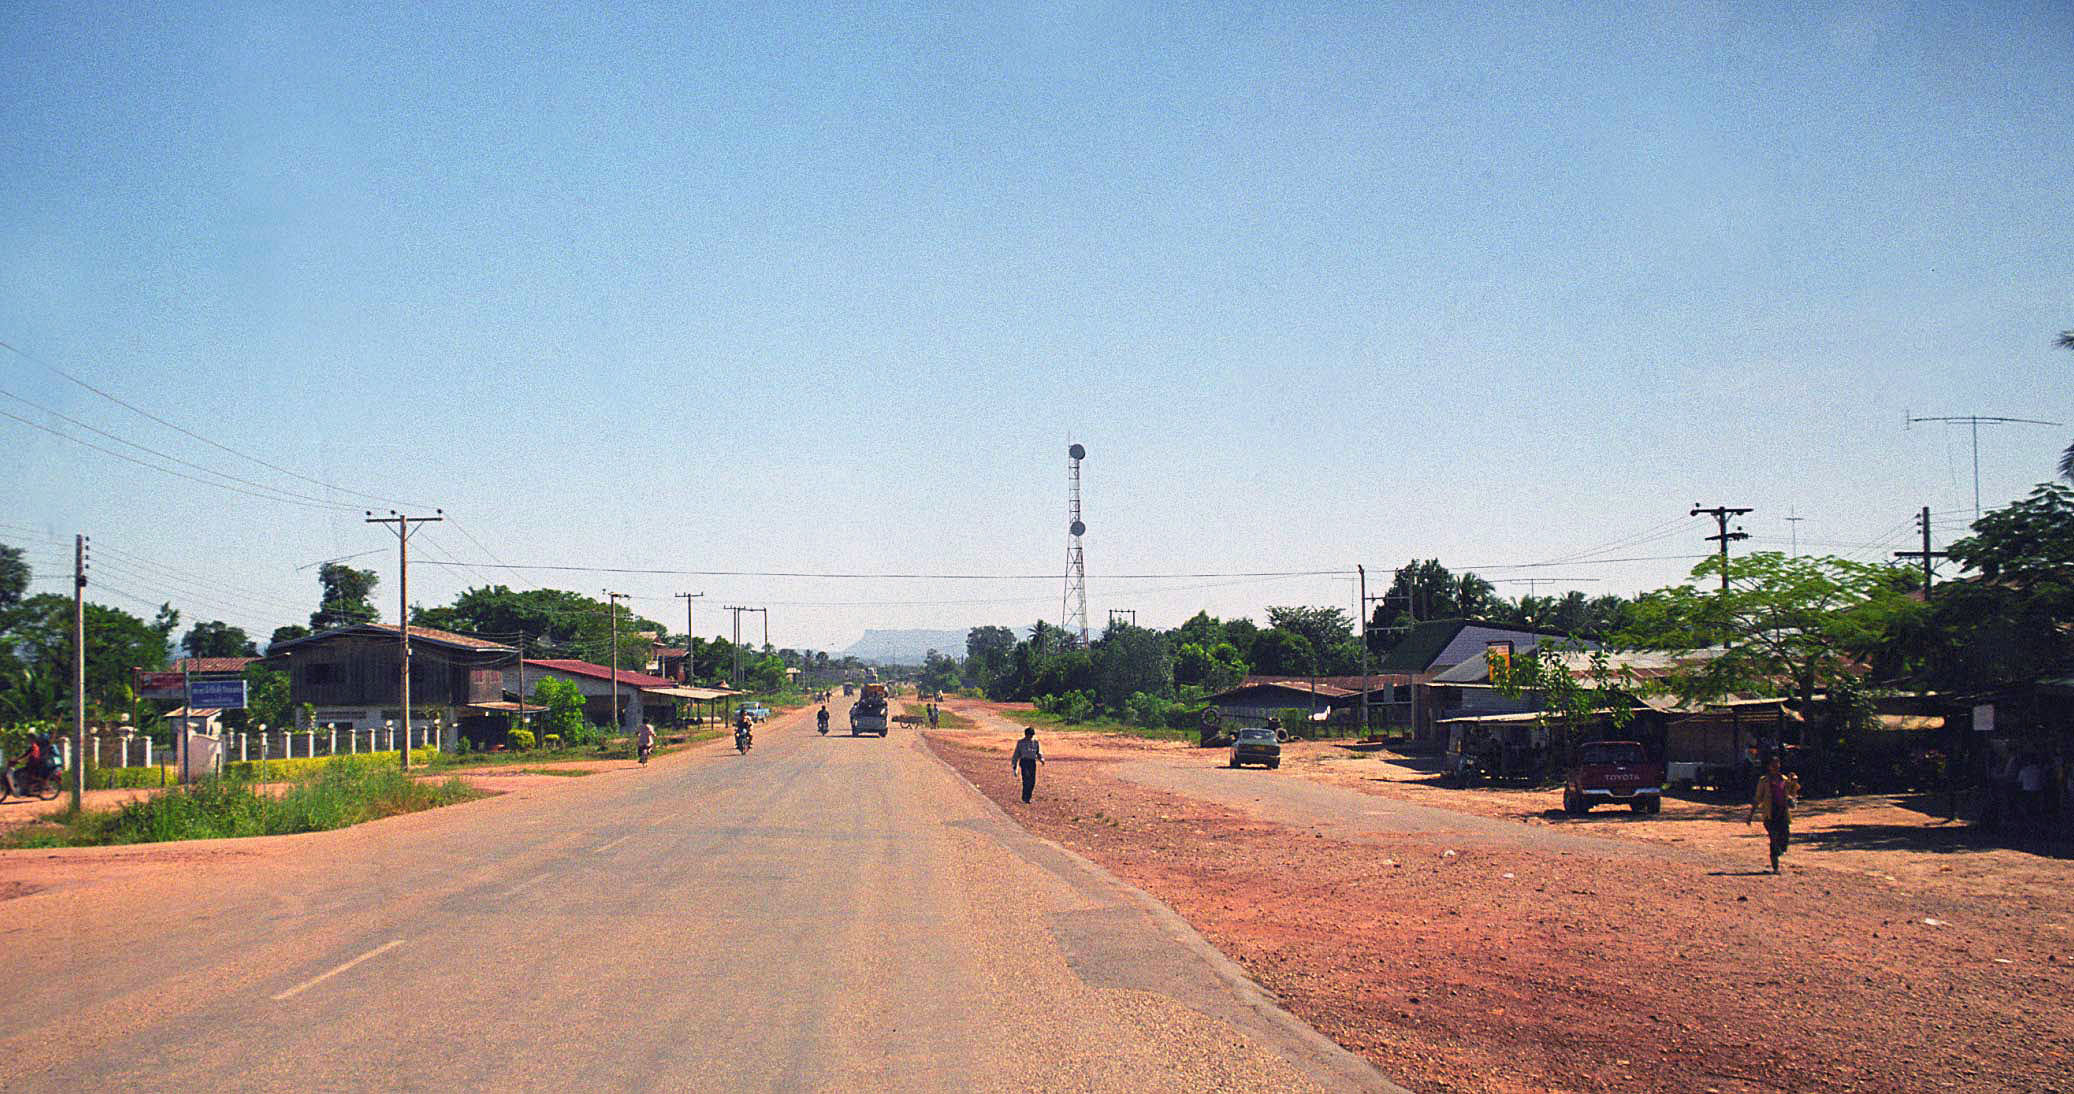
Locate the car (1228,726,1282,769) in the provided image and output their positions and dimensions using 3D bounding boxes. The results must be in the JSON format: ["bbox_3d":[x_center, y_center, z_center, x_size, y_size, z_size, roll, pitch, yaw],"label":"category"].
[{"bbox_3d":[11.447,10.615,79.843,1.897,1.344,3.978,-1,-9,1],"label":"car"}]
